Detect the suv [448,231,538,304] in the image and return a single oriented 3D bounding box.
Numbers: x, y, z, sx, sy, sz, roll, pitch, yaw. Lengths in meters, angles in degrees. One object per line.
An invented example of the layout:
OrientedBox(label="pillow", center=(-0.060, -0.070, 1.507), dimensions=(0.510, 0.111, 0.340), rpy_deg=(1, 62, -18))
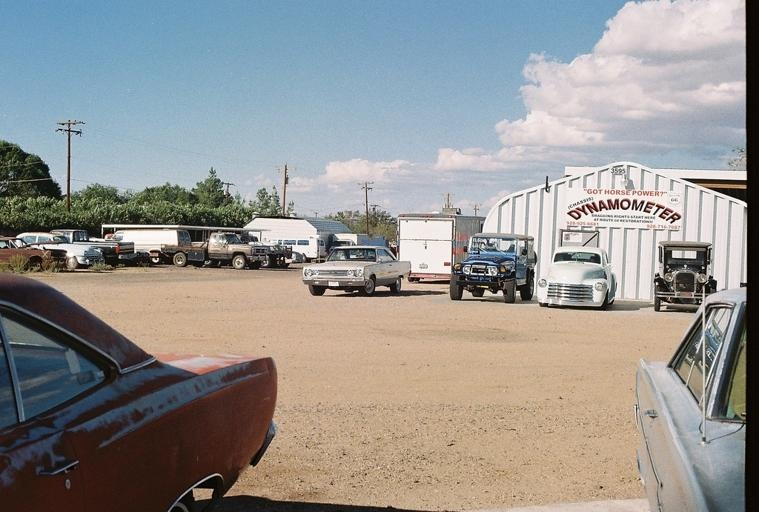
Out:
OrientedBox(label="suv", center=(3.206, 0.341, 21.001), dimensions=(2.038, 1.933, 2.450), rpy_deg=(2, 3, 19))

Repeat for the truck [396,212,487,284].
OrientedBox(label="truck", center=(2.286, -0.386, 28.565), dimensions=(2.003, 2.037, 3.619), rpy_deg=(0, 0, 11))

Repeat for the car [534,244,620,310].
OrientedBox(label="car", center=(5.205, 0.587, 19.421), dimensions=(1.635, 1.589, 2.001), rpy_deg=(2, 4, 27))

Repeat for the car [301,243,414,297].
OrientedBox(label="car", center=(-0.727, 0.450, 22.029), dimensions=(1.694, 1.441, 3.389), rpy_deg=(2, 4, 25))
